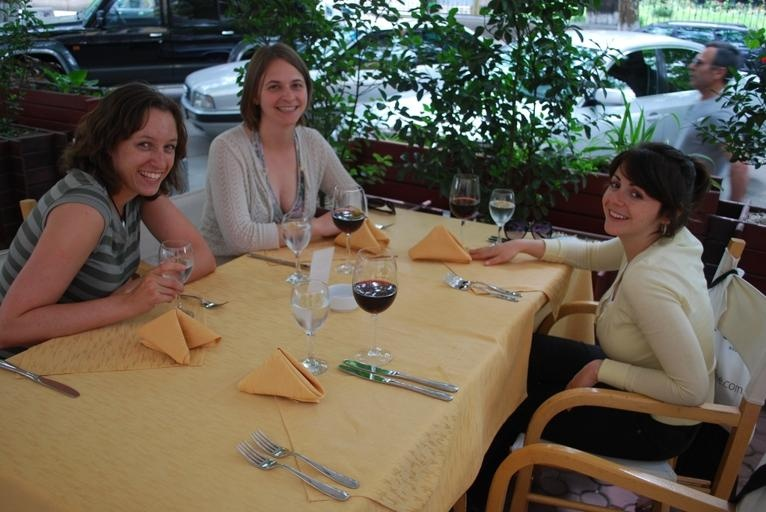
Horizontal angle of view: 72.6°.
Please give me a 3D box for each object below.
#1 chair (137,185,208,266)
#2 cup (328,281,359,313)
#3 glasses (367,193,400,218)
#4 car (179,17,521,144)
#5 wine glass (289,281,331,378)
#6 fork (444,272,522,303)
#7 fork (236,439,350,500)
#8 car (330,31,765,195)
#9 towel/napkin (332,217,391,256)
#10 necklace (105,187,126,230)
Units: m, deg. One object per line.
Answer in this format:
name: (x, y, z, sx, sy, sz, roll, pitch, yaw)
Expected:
chair: (-0.924, -0.123, 2.254, 0.267, 0.360, 0.257, 20, 25, 23)
cup: (-0.153, 0.152, 1.928, 0.095, 0.048, 0.097, 2, 7, 0)
glasses: (-0.005, -0.279, 2.839, 0.167, 0.077, 0.085, 28, 25, 21)
car: (-0.459, -1.581, 5.893, 3.583, 1.335, 1.711, -2, 28, -8)
wine glass: (-0.224, 0.231, 1.588, 0.140, 0.368, 0.151, 4, 20, 1)
fork: (0.394, 0.131, 2.087, 0.189, 0.031, 0.051, 20, 38, 16)
fork: (-0.231, 0.539, 1.301, 0.322, 0.063, 0.043, 7, 21, 23)
car: (1.057, -0.933, 3.507, 2.334, 1.207, 1.325, -1, 22, -43)
towel/napkin: (-0.093, -0.116, 2.341, 0.196, 0.079, 0.170, 15, 44, 23)
necklace: (-1.014, -0.180, 1.985, 0.093, 0.138, 0.068, 2, -3, -6)
